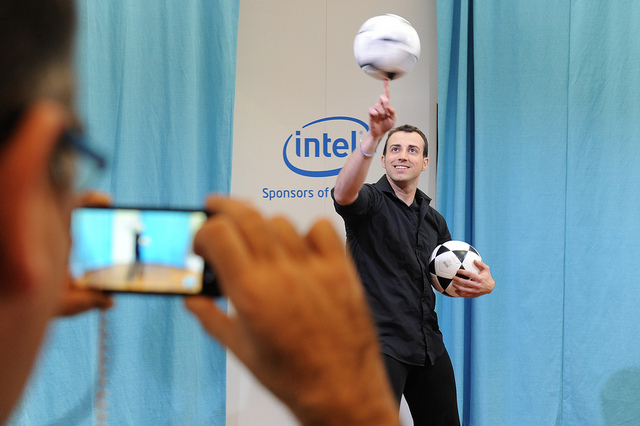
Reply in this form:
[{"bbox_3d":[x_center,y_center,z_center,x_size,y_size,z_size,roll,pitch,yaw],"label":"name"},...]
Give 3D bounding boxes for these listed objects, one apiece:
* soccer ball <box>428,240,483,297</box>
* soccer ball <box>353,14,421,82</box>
[{"bbox_3d":[0.623,0.234,3.600,0.225,0.227,0.296,3,71,50],"label":"soccer ball"},{"bbox_3d":[0.292,-0.752,3.385,0.272,0.317,0.341,-1,84,20],"label":"soccer ball"}]
